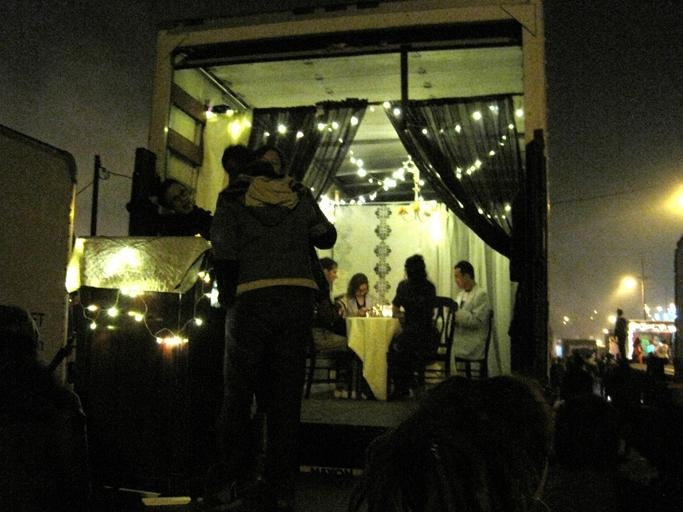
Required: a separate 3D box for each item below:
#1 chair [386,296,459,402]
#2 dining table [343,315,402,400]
[{"bbox_3d":[0.837,0.964,7.498,0.491,0.920,0.559,-9,-27,15],"label":"chair"},{"bbox_3d":[0.179,0.830,7.530,0.450,0.611,0.453,-2,12,-14],"label":"dining table"}]
